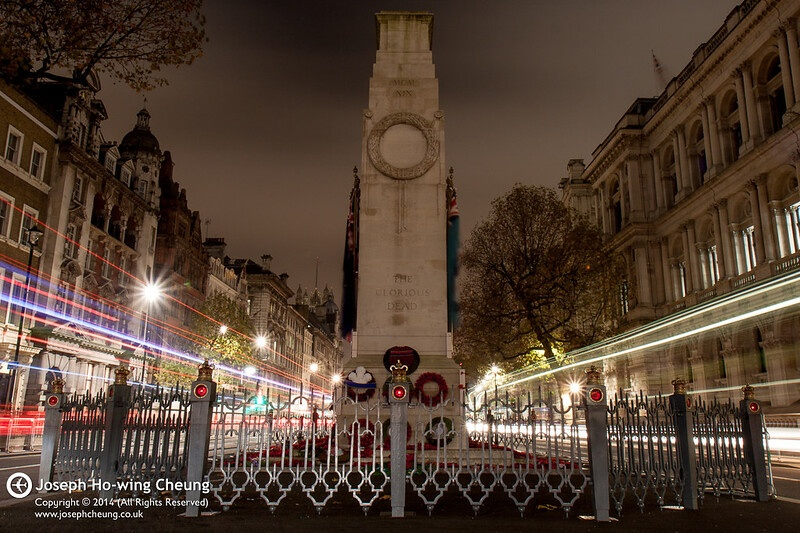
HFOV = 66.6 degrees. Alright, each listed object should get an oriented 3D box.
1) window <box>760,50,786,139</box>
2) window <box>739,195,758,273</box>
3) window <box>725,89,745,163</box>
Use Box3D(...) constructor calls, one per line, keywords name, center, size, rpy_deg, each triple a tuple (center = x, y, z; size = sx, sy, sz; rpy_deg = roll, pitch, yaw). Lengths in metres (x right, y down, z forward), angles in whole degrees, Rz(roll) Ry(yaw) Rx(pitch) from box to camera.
Box3D(name="window", center=(28.715, -13.108, 46.861), size=(1.003, 6.010, 1.511), rpy_deg=(2, -5, -14))
Box3D(name="window", center=(27.571, -2.401, 48.250), size=(0.734, 5.525, 2.560), rpy_deg=(-1, -6, 23))
Box3D(name="window", center=(28.703, -11.761, 52.019), size=(1.499, 6.586, 0.650), rpy_deg=(12, -5, -28))
